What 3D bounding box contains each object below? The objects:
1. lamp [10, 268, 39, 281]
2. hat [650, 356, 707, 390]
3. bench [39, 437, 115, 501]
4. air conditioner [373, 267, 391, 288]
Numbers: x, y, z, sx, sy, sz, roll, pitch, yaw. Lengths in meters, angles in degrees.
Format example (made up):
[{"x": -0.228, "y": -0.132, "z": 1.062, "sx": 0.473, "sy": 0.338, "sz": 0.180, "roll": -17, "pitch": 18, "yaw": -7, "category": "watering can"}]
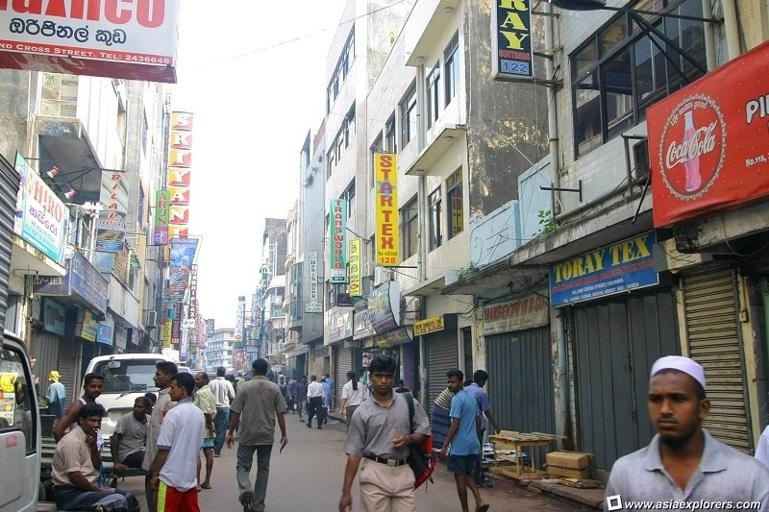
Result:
[{"x": -8.021, "y": 0.407, "z": 15.955, "sx": 0.256, "sy": 0.269, "sz": 0.266, "roll": -2, "pitch": -3, "yaw": 36, "category": "lamp"}, {"x": 2.478, "y": 0.933, "z": 5.985, "sx": 0.355, "sy": 0.203, "sz": 0.366, "roll": 26, "pitch": -1, "yaw": 17, "category": "hat"}, {"x": -4.201, "y": 2.904, "z": 9.687, "sx": 1.178, "sy": 0.442, "sz": 1.202, "roll": 3, "pitch": -10, "yaw": -9, "category": "bench"}, {"x": -0.078, "y": 0.763, "z": 25.502, "sx": 0.344, "sy": 0.661, "sz": 0.694, "roll": -3, "pitch": -8, "yaw": 13, "category": "air conditioner"}]
